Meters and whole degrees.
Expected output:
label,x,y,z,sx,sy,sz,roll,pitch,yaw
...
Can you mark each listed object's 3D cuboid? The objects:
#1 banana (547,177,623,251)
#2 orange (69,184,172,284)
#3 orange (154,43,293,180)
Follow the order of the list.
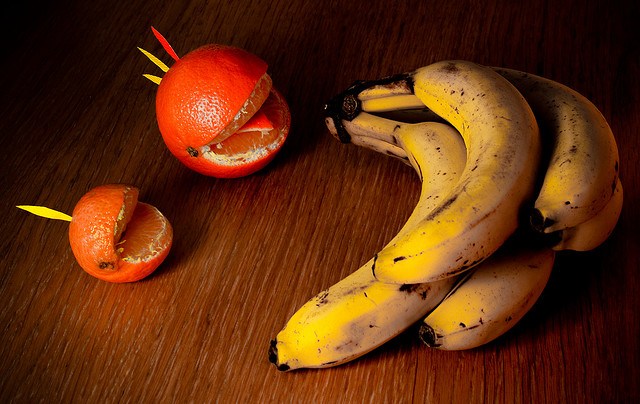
label,x,y,z,sx,sy,sz,roll,pitch,yaw
banana,0.517,0.043,1.310,0.066,0.150,0.125,28,25,-27
orange,-0.404,0.088,1.347,0.171,0.116,0.223,11,64,-49
orange,-0.209,-0.198,1.455,0.220,0.249,0.270,-9,93,-1
